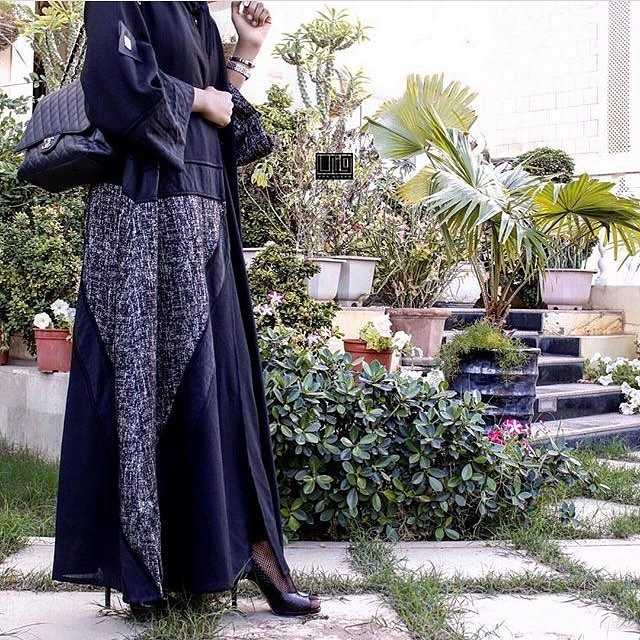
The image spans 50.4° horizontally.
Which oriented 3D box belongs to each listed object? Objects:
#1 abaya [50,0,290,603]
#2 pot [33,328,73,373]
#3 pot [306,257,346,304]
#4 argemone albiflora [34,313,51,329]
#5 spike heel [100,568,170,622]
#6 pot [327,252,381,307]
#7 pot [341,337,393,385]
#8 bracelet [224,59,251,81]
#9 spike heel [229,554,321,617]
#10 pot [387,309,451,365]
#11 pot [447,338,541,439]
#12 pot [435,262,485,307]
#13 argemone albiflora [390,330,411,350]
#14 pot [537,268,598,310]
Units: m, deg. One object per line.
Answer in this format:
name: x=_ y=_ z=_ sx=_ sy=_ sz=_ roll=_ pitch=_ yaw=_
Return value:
abaya: x=-0.346 y=-0.074 z=1.644 sx=0.551 sy=1.452 sz=0.371 roll=0 pitch=3 yaw=-25
pot: x=-1.311 y=0.148 z=3.328 sx=0.224 sy=0.200 sz=0.223 roll=-1 pitch=-5 yaw=0
pot: x=0.106 y=-0.237 z=4.389 sx=0.260 sy=0.269 sz=0.283 roll=13 pitch=-8 yaw=2
argemone albiflora: x=-1.344 y=0.007 z=3.292 sx=0.080 sy=0.085 sz=0.025 roll=2 pitch=4 yaw=-21
spike heel: x=-0.464 y=0.670 z=1.696 sx=0.174 sy=0.156 sz=0.111 roll=-2 pitch=-3 yaw=1
pot: x=0.245 y=-0.251 z=4.656 sx=0.311 sy=0.400 sz=0.373 roll=3 pitch=1 yaw=44
pot: x=0.260 y=0.203 z=3.573 sx=0.199 sy=0.157 sz=0.210 roll=1 pitch=-3 yaw=0
bracelet: x=-0.228 y=-0.709 z=1.903 sx=0.056 sy=0.041 sz=0.062 roll=14 pitch=4 yaw=7
spike heel: x=-0.098 y=0.686 z=1.777 sx=0.286 sy=0.193 sz=0.102 roll=4 pitch=-6 yaw=0
pot: x=0.659 y=0.064 z=4.636 sx=0.445 sy=0.342 sz=0.437 roll=1 pitch=8 yaw=0
pot: x=0.833 y=0.335 z=3.298 sx=0.415 sy=0.438 sz=0.417 roll=0 pitch=-7 yaw=0
pot: x=1.320 y=-0.276 z=6.204 sx=0.437 sy=0.338 sz=0.479 roll=0 pitch=-4 yaw=0
argemone albiflora: x=0.433 y=0.110 z=3.679 sx=0.108 sy=0.090 sz=0.096 roll=-2 pitch=7 yaw=-17
pot: x=2.167 y=-0.274 z=6.021 sx=0.387 sy=0.253 sz=0.384 roll=1 pitch=-4 yaw=0
